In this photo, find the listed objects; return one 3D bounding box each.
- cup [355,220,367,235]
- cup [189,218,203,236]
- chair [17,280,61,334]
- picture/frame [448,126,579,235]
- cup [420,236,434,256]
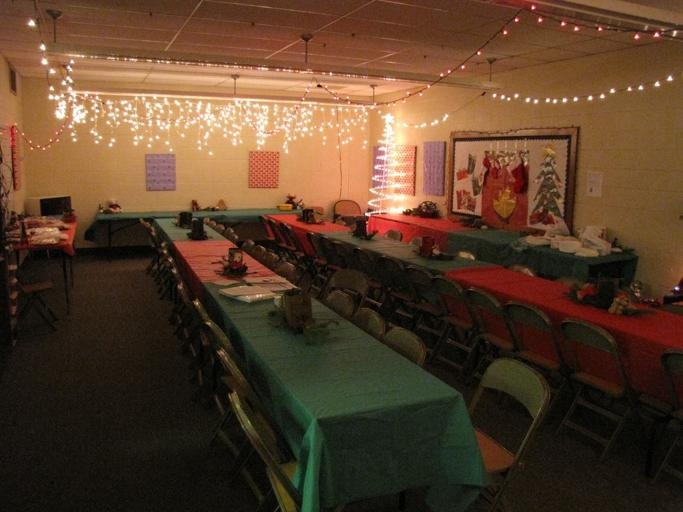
[{"bbox_3d":[0.274,-0.409,6.818,0.183,0.195,0.181,1,9,0],"label":"cup"},{"bbox_3d":[-2.027,-0.413,6.797,0.240,0.231,0.245,2,8,0],"label":"cup"},{"bbox_3d":[-3.717,0.448,5.820,0.410,0.552,0.381,-9,18,-41],"label":"chair"},{"bbox_3d":[2.904,-1.245,7.921,0.087,1.311,1.921,-3,13,-29],"label":"picture/frame"},{"bbox_3d":[1.018,-0.125,5.780,0.205,0.271,0.194,1,7,0],"label":"cup"}]
